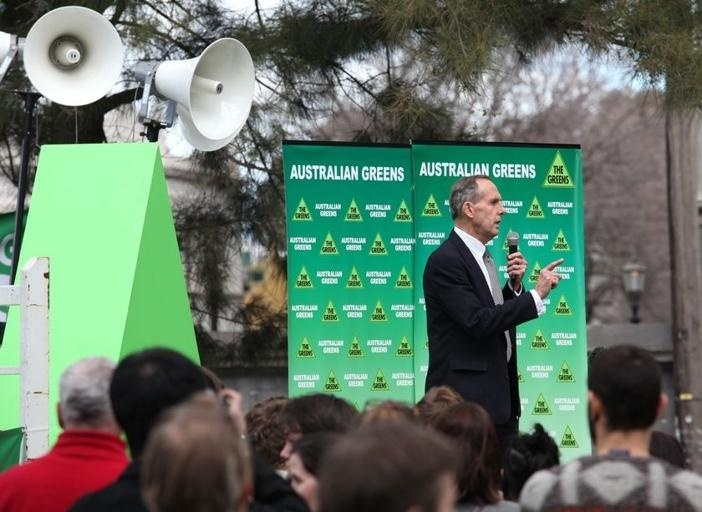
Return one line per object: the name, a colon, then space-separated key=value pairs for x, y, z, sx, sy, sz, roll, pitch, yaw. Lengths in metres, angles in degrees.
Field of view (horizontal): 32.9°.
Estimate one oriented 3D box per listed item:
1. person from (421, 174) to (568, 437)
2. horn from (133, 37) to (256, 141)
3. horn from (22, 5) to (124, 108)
person: x=0.959 y=0.405 z=7.846 sx=0.652 sy=2.052 sz=0.700 roll=-1 pitch=-1 yaw=42
horn: x=-1.146 y=-1.148 z=8.437 sx=0.633 sy=0.828 sz=0.711 roll=6 pitch=10 yaw=35
horn: x=-1.958 y=-1.395 z=8.238 sx=0.503 sy=0.853 sz=0.520 roll=6 pitch=12 yaw=41
